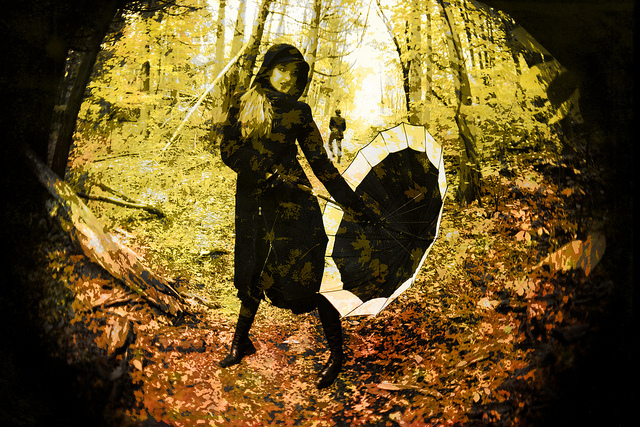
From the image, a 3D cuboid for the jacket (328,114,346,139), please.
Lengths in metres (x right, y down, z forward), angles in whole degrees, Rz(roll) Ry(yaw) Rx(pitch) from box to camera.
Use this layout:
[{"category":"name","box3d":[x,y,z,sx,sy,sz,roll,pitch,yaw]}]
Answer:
[{"category":"jacket","box3d":[0.282,-1.337,9.254,0.262,0.329,0.195,3,23,-8]}]

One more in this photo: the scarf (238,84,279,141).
[{"category":"scarf","box3d":[-0.969,-1.429,9.116,0.810,1.098,0.325,-3,54,-2]}]
